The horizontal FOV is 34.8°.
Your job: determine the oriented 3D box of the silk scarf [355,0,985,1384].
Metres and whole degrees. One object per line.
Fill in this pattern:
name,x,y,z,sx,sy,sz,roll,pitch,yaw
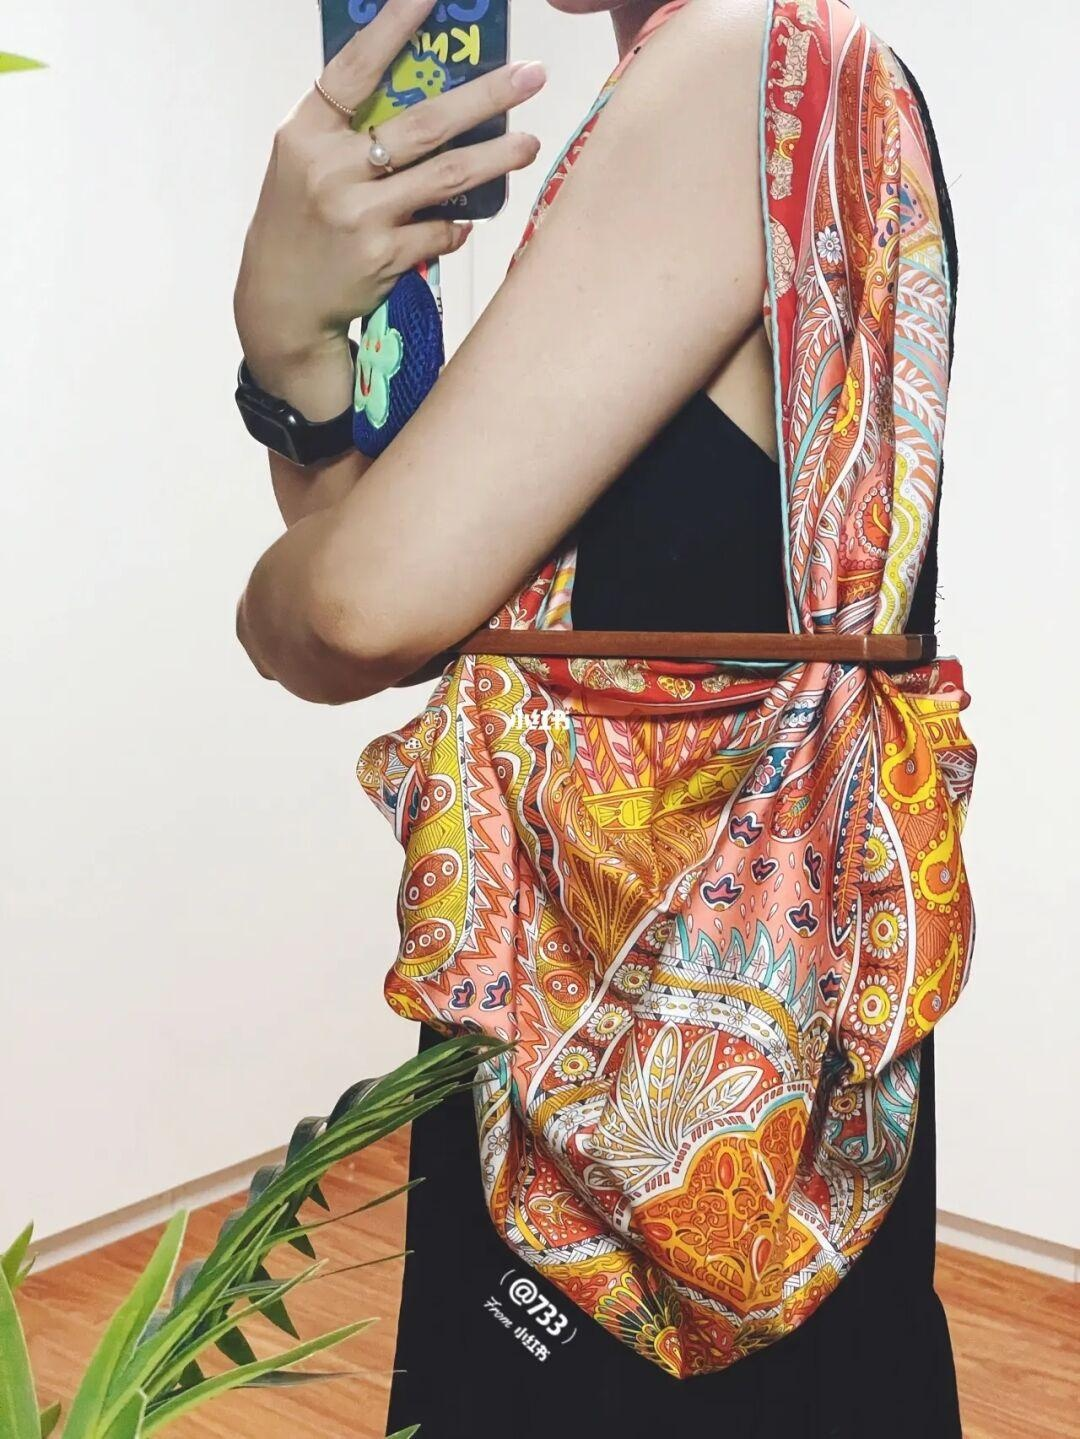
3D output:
silk scarf,0.144,-0.018,0.937,0.450,0.595,0.173,-3,-2,36

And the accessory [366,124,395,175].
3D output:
accessory,-0.088,-0.319,0.957,0.015,0.020,0.012,-6,12,20

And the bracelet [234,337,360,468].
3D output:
bracelet,-0.139,-0.186,1.046,0.081,0.032,0.079,-26,65,-22
